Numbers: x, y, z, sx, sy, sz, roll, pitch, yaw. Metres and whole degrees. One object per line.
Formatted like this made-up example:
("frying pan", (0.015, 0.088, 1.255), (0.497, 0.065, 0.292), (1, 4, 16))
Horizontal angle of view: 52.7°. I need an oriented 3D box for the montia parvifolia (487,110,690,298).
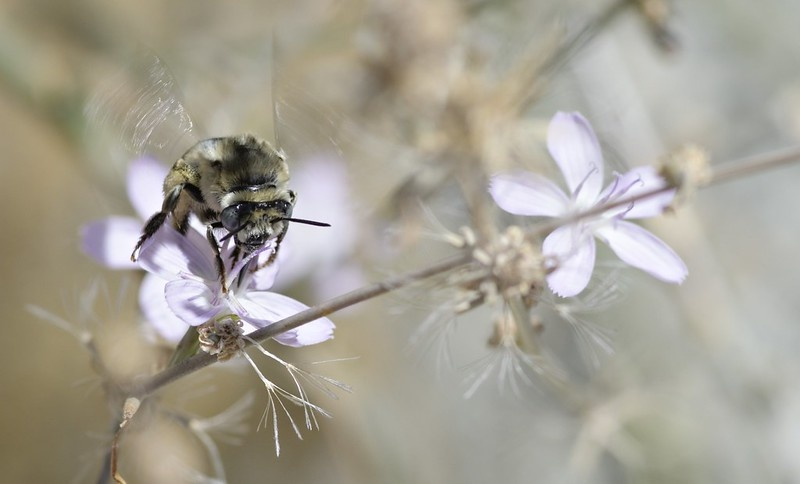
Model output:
("montia parvifolia", (0.439, -0.066, 1.830), (0.349, 0.266, 0.382), (-34, -63, 7))
